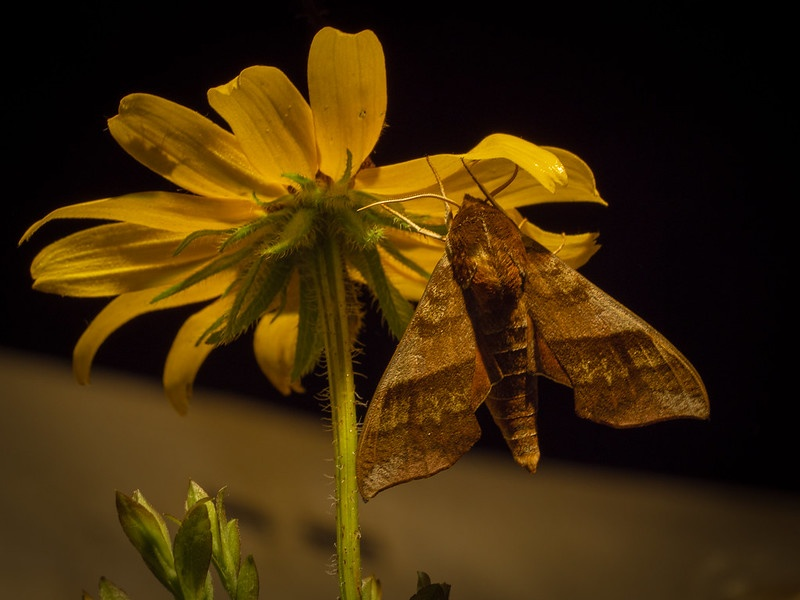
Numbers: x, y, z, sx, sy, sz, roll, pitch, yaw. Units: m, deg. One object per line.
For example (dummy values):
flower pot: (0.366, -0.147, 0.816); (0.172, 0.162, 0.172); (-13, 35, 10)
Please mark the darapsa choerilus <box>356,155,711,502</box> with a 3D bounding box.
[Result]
darapsa choerilus: (0.160, 0.084, 1.600); (0.509, 0.514, 0.145); (-19, -2, -6)
